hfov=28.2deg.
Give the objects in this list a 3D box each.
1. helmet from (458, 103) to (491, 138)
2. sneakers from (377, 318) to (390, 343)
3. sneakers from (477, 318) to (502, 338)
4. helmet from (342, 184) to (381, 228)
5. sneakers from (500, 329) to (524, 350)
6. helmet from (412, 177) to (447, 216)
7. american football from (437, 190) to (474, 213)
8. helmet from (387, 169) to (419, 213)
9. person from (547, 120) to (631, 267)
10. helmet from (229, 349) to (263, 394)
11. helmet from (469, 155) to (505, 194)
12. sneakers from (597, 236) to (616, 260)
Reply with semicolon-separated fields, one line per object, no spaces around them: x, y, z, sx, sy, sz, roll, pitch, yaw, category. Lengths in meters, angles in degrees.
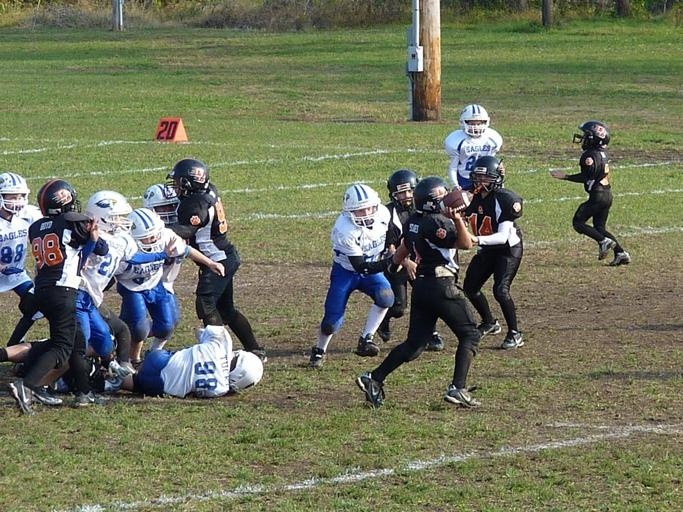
2.128;-2.216;21.763;0.485;0.470;0.592;-7;22;-13;helmet
0.603;1.048;19.142;0.109;0.286;0.219;8;15;23;sneakers
2.084;1.031;19.187;0.451;0.203;0.162;-10;7;-25;sneakers
0.229;-0.727;18.205;0.486;0.443;0.558;-12;34;-22;helmet
2.412;1.146;18.874;0.414;0.261;0.211;-10;14;-41;sneakers
1.182;-0.776;17.302;0.503;0.389;0.364;-22;28;-38;helmet
1.452;-0.711;17.391;0.372;0.225;0.246;-37;-7;-20;american football
0.945;-0.870;19.046;0.449;0.482;0.559;-7;-15;-7;helmet
4.123;-1.028;21.955;0.733;2.211;1.200;-6;12;-26;person
-1.219;1.500;17.691;0.539;0.502;0.401;-11;6;19;helmet
2.084;-1.159;18.630;0.382;0.375;0.480;13;25;39;helmet
4.173;-0.145;21.678;0.220;0.428;0.147;26;18;1;sneakers
